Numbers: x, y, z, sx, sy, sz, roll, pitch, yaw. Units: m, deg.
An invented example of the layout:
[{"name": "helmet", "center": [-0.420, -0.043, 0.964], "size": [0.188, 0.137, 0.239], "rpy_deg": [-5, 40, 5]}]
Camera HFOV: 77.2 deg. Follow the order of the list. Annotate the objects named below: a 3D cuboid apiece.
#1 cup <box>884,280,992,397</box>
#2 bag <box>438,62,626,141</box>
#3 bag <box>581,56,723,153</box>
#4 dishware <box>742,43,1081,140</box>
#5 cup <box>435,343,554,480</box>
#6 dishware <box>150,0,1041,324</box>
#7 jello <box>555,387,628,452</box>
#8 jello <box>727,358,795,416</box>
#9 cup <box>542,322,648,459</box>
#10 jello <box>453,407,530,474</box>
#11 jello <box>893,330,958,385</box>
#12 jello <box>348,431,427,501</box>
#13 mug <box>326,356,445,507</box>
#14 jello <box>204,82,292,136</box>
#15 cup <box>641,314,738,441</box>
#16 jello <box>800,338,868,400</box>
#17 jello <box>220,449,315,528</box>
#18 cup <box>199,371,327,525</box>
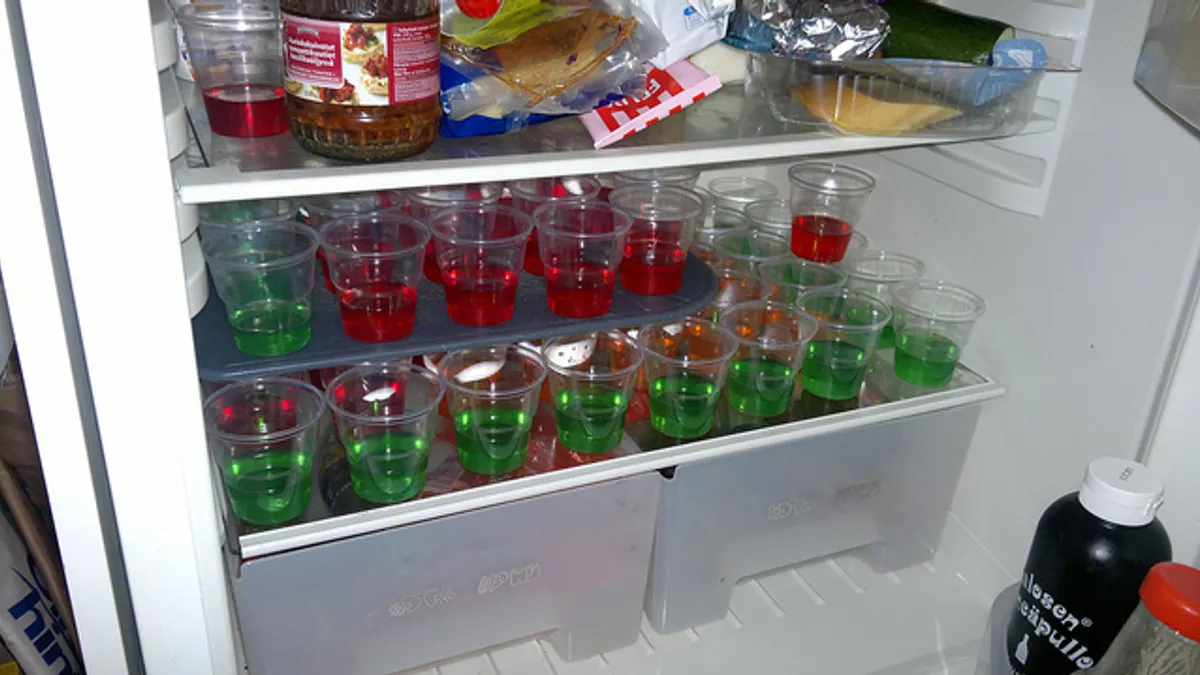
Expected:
[{"name": "cup", "center": [0.612, -0.013, 1.538], "size": [0.232, 0.198, 0.216], "rpy_deg": [-2, 30, 1]}, {"name": "bag", "center": [-0.150, -0.402, 1.287], "size": [0.211, 0.058, 0.140], "rpy_deg": [-17, 59, -10]}, {"name": "bag", "center": [0.056, -0.451, 1.345], "size": [0.198, 0.034, 0.194], "rpy_deg": [42, 56, 17]}, {"name": "dishware", "center": [0.498, -0.411, 1.261], "size": [0.298, 0.075, 0.243], "rpy_deg": [4, 27, 6]}, {"name": "cup", "center": [-0.173, 0.119, 1.385], "size": [0.236, 0.185, 0.225], "rpy_deg": [0, 29, 0]}, {"name": "dishware", "center": [0.075, -0.337, 1.240], "size": [1.106, 0.134, 0.559], "rpy_deg": [-9, 30, -11]}, {"name": "jello", "center": [-0.014, 0.146, 1.367], "size": [0.164, 0.101, 0.161], "rpy_deg": [5, -8, -29]}, {"name": "jello", "center": [0.321, 0.095, 1.440], "size": [0.160, 0.098, 0.145], "rpy_deg": [3, -5, 23]}, {"name": "cup", "center": [-0.017, 0.093, 1.321], "size": [0.237, 0.194, 0.213], "rpy_deg": [-2, 30, -4]}, {"name": "jello", "center": [-0.190, 0.171, 1.320], "size": [0.158, 0.103, 0.151], "rpy_deg": [-5, -2, -12]}, {"name": "jello", "center": [0.665, 0.052, 1.503], "size": [0.139, 0.084, 0.131], "rpy_deg": [6, 1, 23]}, {"name": "jello", "center": [-0.340, 0.207, 1.244], "size": [0.111, 0.068, 0.106], "rpy_deg": [-15, 17, -26]}, {"name": "mug", "center": [-0.350, 0.163, 1.257], "size": [0.214, 0.167, 0.208], "rpy_deg": [-14, 27, -37]}, {"name": "jello", "center": [-0.570, -0.381, 1.216], "size": [0.108, 0.044, 0.106], "rpy_deg": [8, 23, 14]}, {"name": "cup", "center": [0.155, 0.079, 1.404], "size": [0.203, 0.175, 0.192], "rpy_deg": [0, 23, 0]}, {"name": "jello", "center": [0.454, 0.062, 1.476], "size": [0.132, 0.088, 0.131], "rpy_deg": [4, -3, 33]}, {"name": "jello", "center": [-0.535, 0.231, 1.216], "size": [0.147, 0.098, 0.148], "rpy_deg": [-26, -25, 32]}, {"name": "cup", "center": [-0.551, 0.187, 1.241], "size": [0.210, 0.185, 0.203], "rpy_deg": [3, 18, -1]}]
